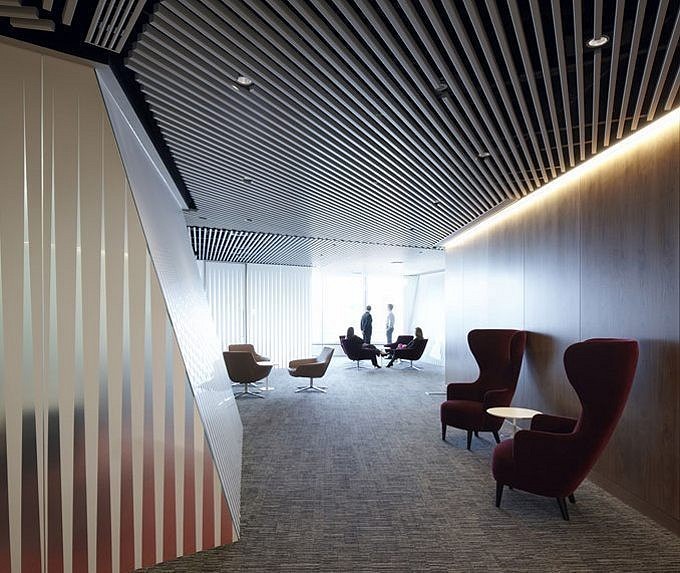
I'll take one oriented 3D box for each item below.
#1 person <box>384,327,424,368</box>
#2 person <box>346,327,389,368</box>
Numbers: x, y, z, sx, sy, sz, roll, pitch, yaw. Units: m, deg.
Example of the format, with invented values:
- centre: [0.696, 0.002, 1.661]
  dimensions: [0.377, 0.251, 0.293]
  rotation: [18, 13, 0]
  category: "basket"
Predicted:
- centre: [1.776, 1.611, 13.355]
  dimensions: [0.867, 1.102, 0.851]
  rotation: [4, 25, 12]
  category: "person"
- centre: [0.567, 1.723, 13.225]
  dimensions: [1.008, 0.947, 0.832]
  rotation: [-13, 7, 13]
  category: "person"
